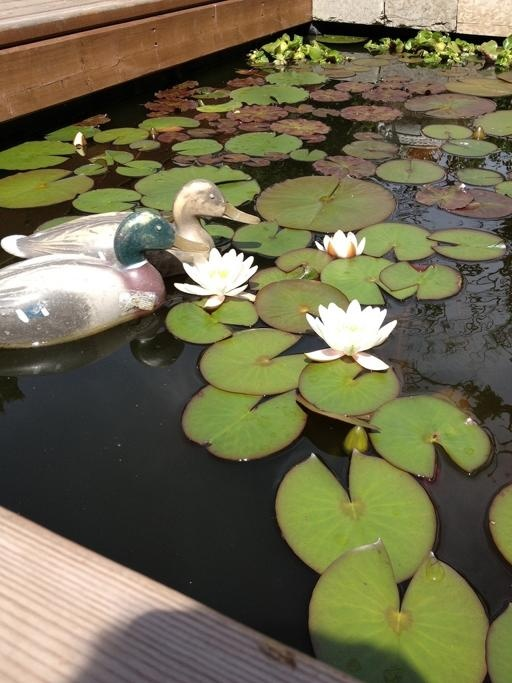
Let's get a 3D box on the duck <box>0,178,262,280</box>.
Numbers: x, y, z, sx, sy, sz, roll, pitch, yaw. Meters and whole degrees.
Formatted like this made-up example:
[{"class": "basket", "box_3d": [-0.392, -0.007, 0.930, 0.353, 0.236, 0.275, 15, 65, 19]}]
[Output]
[{"class": "duck", "box_3d": [-0.383, -0.361, 1.965, 0.963, 0.448, 0.269, -3, 62, -18]}]
